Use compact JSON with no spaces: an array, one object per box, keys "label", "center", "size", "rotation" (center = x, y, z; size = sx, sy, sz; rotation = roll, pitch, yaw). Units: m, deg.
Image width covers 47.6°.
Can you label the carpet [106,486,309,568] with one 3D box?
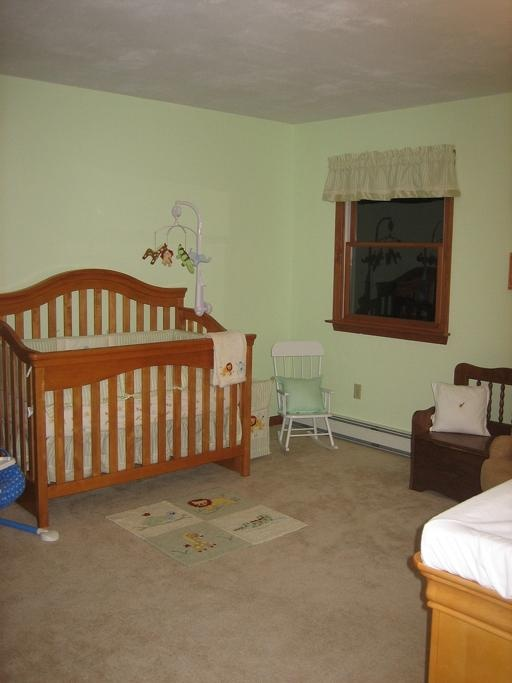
[{"label":"carpet","center":[-0.251,0.935,3.008],"size":[0.772,0.010,0.750],"rotation":[-3,7,-41]}]

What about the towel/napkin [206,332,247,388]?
[{"label":"towel/napkin","center":[-0.199,0.118,3.593],"size":[0.303,0.302,0.099],"rotation":[-7,6,-43]}]

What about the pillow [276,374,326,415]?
[{"label":"pillow","center":[0.332,0.402,4.289],"size":[0.351,0.249,0.247],"rotation":[2,6,2]}]

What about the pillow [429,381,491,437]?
[{"label":"pillow","center":[1.230,0.416,3.495],"size":[0.298,0.282,0.109],"rotation":[1,-25,14]}]
